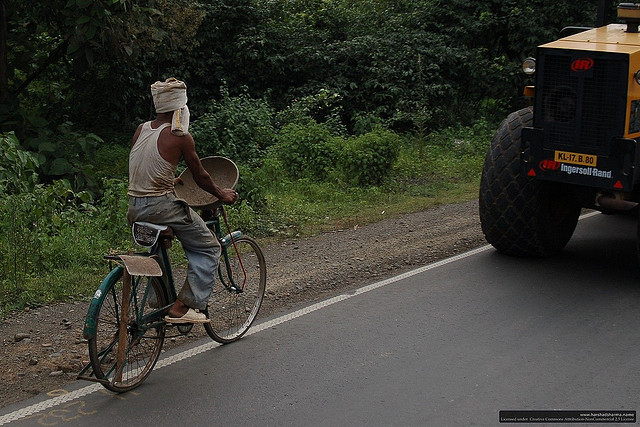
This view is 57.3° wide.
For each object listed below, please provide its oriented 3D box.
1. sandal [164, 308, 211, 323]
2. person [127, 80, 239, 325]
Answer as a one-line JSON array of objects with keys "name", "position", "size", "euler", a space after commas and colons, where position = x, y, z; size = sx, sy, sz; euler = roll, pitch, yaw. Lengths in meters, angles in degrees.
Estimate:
[{"name": "sandal", "position": [-1.452, 1.094, 6.367], "size": [0.405, 0.167, 0.168], "euler": [-1, 7, -13]}, {"name": "person", "position": [-1.533, -0.098, 6.291], "size": [1.008, 2.549, 0.587], "euler": [-8, 16, -17]}]
